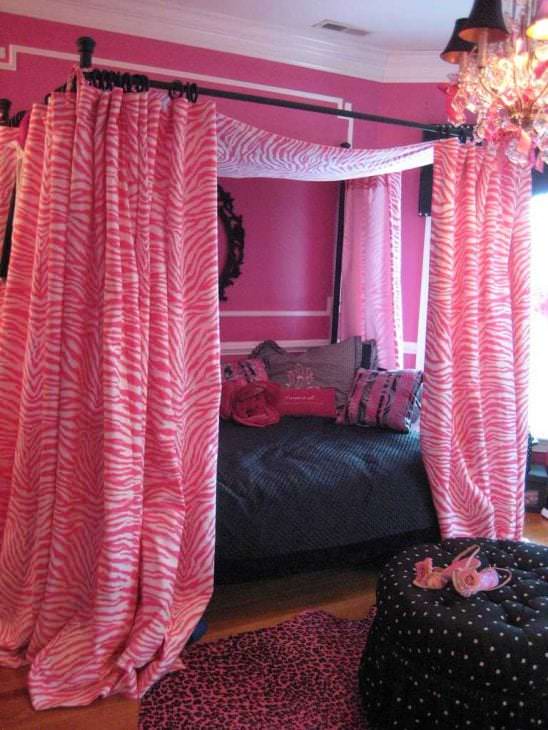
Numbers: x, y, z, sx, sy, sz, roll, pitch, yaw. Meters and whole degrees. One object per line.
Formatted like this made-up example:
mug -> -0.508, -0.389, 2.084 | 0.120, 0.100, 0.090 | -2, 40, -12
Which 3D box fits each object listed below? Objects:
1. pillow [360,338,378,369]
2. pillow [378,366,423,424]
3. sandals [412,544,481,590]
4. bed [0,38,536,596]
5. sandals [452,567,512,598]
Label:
pillow -> 0.558, -0.063, 3.746 | 0.099, 0.128, 0.167 | -2, -14, 1
pillow -> 0.627, 0.164, 3.212 | 0.087, 0.248, 0.276 | 31, -17, -30
sandals -> 0.500, 0.573, 1.866 | 0.198, 0.071, 0.103 | -14, -8, -13
bed -> 0.135, -0.203, 2.844 | 2.143, 1.490, 1.987 | -3, 19, -14
sandals -> 0.598, 0.599, 1.816 | 0.175, 0.074, 0.079 | -1, -3, -29
